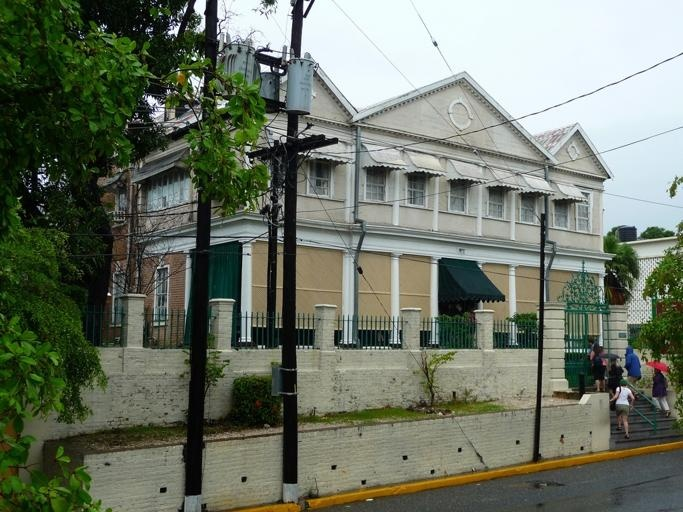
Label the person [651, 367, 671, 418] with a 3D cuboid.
[{"bbox_3d":[10.790,4.613,27.553,0.531,1.580,1.738,-4,-11,21],"label":"person"}]
